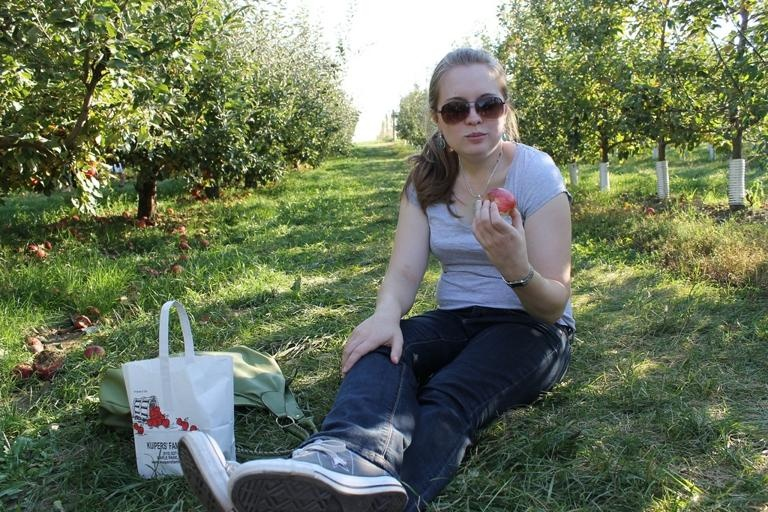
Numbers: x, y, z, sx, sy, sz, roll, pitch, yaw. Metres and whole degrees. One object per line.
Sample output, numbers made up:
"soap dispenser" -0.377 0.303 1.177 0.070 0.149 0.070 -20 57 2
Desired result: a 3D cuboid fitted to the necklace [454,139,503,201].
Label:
"necklace" 0.684 -0.588 4.414 0.263 0.437 0.107 17 20 31
